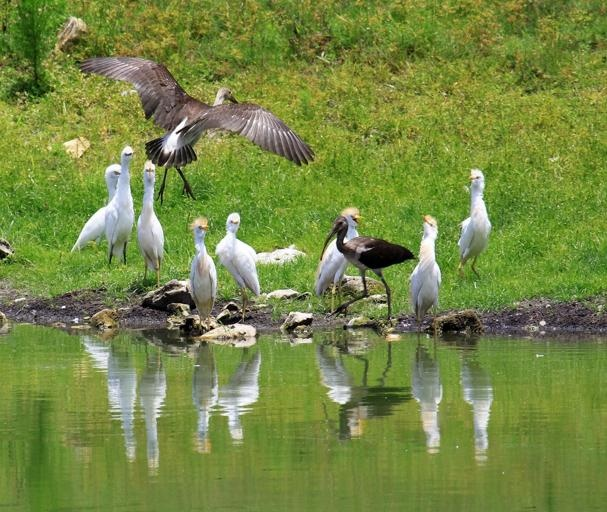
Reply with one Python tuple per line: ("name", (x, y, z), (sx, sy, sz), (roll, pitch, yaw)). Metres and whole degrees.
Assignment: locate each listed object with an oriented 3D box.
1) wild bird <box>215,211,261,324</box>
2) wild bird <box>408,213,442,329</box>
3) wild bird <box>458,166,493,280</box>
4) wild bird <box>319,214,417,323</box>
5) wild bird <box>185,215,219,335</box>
("wild bird", (-1.127, 0.170, 23.419), (0.643, 1.875, 0.858), (-1, 2, 24))
("wild bird", (2.036, 0.245, 22.749), (0.534, 1.874, 0.809), (-2, 2, 5))
("wild bird", (3.211, -0.658, 25.419), (0.605, 2.028, 1.387), (-2, 2, 7))
("wild bird", (1.191, 0.181, 23.598), (1.415, 1.876, 1.152), (-2, 2, 19))
("wild bird", (-1.722, 0.284, 22.648), (0.439, 1.242, 0.652), (-2, 2, -5))
